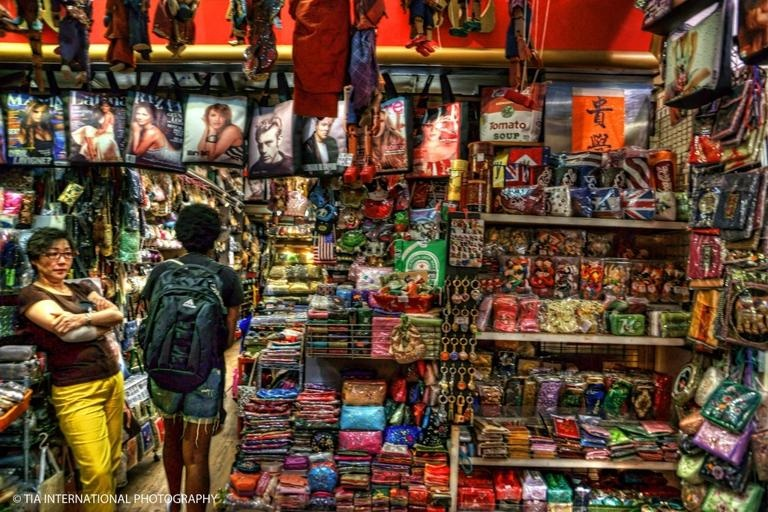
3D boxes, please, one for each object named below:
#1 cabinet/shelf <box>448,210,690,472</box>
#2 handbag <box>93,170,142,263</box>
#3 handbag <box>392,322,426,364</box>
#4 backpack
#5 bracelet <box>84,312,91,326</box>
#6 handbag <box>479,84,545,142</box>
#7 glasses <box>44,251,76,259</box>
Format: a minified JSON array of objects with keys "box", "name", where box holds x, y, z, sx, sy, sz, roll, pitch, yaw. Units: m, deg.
[{"box":[1.411,0.678,4.887,2.823,1.887,0.834,1,-6,-1],"name":"cabinet/shelf"},{"box":[-2.556,-0.384,6.039,0.705,0.723,0.266,-1,7,-33],"name":"handbag"},{"box":[0.180,0.653,4.765,0.272,0.301,0.126,4,-5,-8],"name":"handbag"},{"box":[-1.441,0.509,4.513,0.586,0.949,0.265,5,-5,-15],"name":"backpack"},{"box":[-2.228,0.471,4.726,0.036,0.077,0.061,-12,-38,4],"name":"bracelet"},{"box":[1.045,-1.172,5.173,0.675,0.504,0.217,4,11,16],"name":"handbag"},{"box":[-2.438,-0.006,4.719,0.053,0.051,0.188,-1,-5,42],"name":"glasses"}]
